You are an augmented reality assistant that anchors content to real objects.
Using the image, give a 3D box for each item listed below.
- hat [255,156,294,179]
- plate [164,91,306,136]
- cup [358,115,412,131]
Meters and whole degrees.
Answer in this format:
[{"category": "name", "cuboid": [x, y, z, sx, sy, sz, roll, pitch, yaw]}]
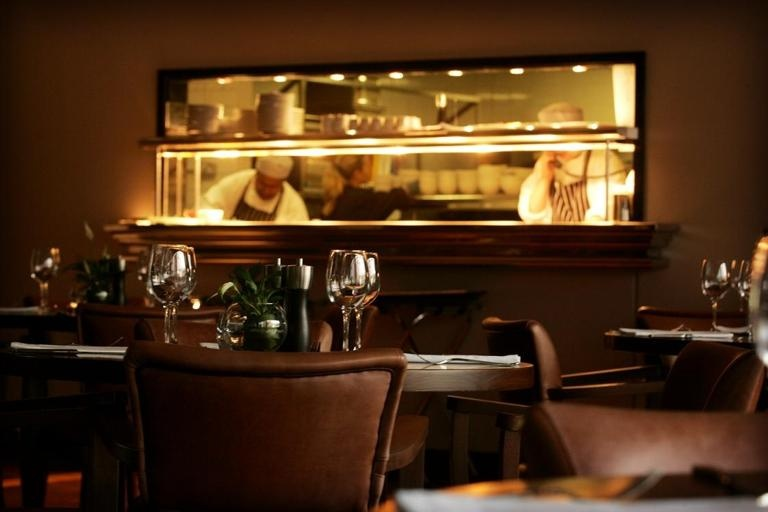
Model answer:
[{"category": "hat", "cuboid": [-0.686, -0.558, 4.864, 0.140, 0.127, 0.184, 3, 6, -5]}, {"category": "plate", "cuboid": [-0.912, -0.844, 4.786, 0.869, 0.248, 0.294, 2, 4, 11]}, {"category": "cup", "cuboid": [-0.001, -0.777, 4.601, 0.291, 0.103, 0.191, 4, 4, 39]}]
